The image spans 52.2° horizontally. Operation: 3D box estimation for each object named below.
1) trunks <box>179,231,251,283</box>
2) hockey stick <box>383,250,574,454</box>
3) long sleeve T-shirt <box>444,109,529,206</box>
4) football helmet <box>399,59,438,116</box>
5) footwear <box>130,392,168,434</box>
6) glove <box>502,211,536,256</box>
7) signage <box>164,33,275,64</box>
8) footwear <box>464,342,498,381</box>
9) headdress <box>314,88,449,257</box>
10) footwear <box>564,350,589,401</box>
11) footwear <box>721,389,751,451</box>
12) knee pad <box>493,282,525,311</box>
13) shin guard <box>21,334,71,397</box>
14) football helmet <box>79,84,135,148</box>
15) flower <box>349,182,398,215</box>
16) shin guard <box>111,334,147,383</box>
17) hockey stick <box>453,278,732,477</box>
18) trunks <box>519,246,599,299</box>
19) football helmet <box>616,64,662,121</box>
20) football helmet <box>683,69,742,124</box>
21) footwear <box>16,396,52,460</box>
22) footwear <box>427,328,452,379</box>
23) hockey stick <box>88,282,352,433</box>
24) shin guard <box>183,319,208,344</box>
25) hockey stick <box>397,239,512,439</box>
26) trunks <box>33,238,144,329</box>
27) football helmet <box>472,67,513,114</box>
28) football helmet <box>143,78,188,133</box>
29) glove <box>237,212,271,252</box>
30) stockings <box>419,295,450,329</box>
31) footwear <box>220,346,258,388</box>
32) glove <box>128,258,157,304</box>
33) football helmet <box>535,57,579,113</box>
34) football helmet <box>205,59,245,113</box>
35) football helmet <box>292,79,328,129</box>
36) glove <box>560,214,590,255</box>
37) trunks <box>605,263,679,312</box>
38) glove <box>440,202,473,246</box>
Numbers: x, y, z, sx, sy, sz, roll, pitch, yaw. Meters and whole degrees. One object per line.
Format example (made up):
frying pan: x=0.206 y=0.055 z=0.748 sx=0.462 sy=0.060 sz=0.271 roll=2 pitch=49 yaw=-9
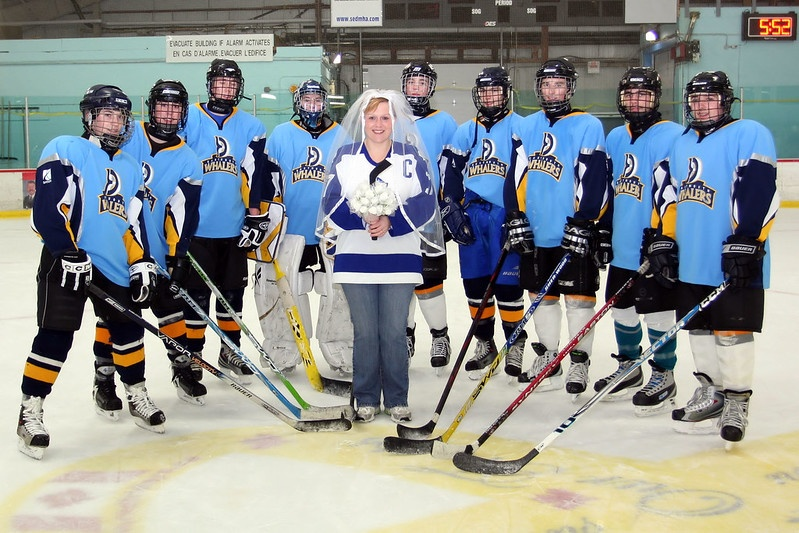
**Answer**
trunks: x=-1.392 y=-0.057 z=6.288 sx=0.546 sy=0.513 sz=0.304 roll=-1 pitch=0 yaw=-26
hockey stick: x=0.573 y=0.617 z=5.799 sx=0.285 sy=1.499 sz=0.165 roll=36 pitch=-12 yaw=30
long sleeve T-shirt: x=0.679 y=-0.803 z=6.222 sx=0.696 sy=0.751 sz=0.396 roll=5 pitch=-9 yaw=36
football helmet: x=0.176 y=-1.431 z=6.538 sx=0.301 sy=0.399 sz=0.405 roll=-1 pitch=3 yaw=2
footwear: x=-1.639 y=0.957 z=5.333 sx=0.141 sy=0.163 sz=0.355 roll=-8 pitch=13 yaw=-37
glove: x=0.871 y=-0.240 z=5.952 sx=0.190 sy=0.303 sz=0.122 roll=-9 pitch=-1 yaw=3
signage: x=-3.648 y=-4.433 z=16.596 sx=2.307 sy=0.568 sz=0.289 roll=1 pitch=12 yaw=12
footwear: x=0.645 y=0.677 z=6.379 sx=0.309 sy=0.299 sz=0.097 roll=-26 pitch=29 yaw=-22
headdress: x=-0.131 y=-0.613 z=5.629 sx=1.160 sy=1.292 sz=0.357 roll=2 pitch=-3 yaw=-2
footwear: x=1.264 y=0.770 z=5.785 sx=0.143 sy=0.189 sz=0.380 roll=-5 pitch=33 yaw=20
footwear: x=2.119 y=0.913 z=5.160 sx=0.160 sy=0.224 sz=0.523 roll=11 pitch=20 yaw=23
knee pad: x=0.856 y=0.251 z=6.333 sx=0.236 sy=0.312 sz=0.184 roll=-2 pitch=-16 yaw=18
shin guard: x=-2.210 y=0.565 z=5.117 sx=0.220 sy=0.658 sz=0.170 roll=3 pitch=49 yaw=-22
football helmet: x=-1.873 y=-0.980 z=5.238 sx=0.389 sy=0.379 sz=0.314 roll=9 pitch=4 yaw=36
flower: x=-0.158 y=-0.426 z=5.228 sx=0.239 sy=0.110 sz=0.237 roll=8 pitch=44 yaw=3
shin guard: x=-1.811 y=0.620 z=5.411 sx=0.249 sy=0.324 sz=0.217 roll=-9 pitch=5 yaw=-24
hockey stick: x=1.438 y=0.526 z=5.322 sx=2.103 sy=0.114 sz=0.371 roll=-50 pitch=10 yaw=-31
trunks: x=1.139 y=0.038 z=5.921 sx=0.639 sy=0.348 sz=0.456 roll=5 pitch=1 yaw=18
football helmet: x=1.664 y=-1.204 z=5.667 sx=0.304 sy=0.354 sz=0.211 roll=-1 pitch=12 yaw=3
football helmet: x=2.002 y=-1.091 z=5.337 sx=0.345 sy=0.329 sz=0.350 roll=-3 pitch=1 yaw=42
footwear: x=-2.278 y=1.007 z=5.086 sx=0.121 sy=0.368 sz=0.388 roll=6 pitch=4 yaw=-43
footwear: x=0.320 y=0.666 z=6.386 sx=0.128 sy=0.164 sz=0.383 roll=-7 pitch=15 yaw=7
hockey stick: x=-1.022 y=0.429 z=4.962 sx=0.302 sy=2.114 sz=0.281 roll=-18 pitch=35 yaw=31
shin guard: x=-1.531 y=0.468 z=6.169 sx=0.179 sy=0.193 sz=0.185 roll=-3 pitch=10 yaw=-28
hockey stick: x=0.411 y=0.549 z=5.984 sx=0.254 sy=1.432 sz=0.200 roll=38 pitch=-26 yaw=-33
trunks: x=-1.969 y=-0.007 z=5.295 sx=0.806 sy=0.733 sz=0.461 roll=-1 pitch=5 yaw=-25
football helmet: x=0.713 y=-1.360 z=6.315 sx=0.274 sy=0.370 sz=0.351 roll=-1 pitch=12 yaw=5
football helmet: x=-1.600 y=-1.117 z=5.739 sx=0.280 sy=0.358 sz=0.374 roll=3 pitch=-2 yaw=-9
glove: x=-1.084 y=-0.266 z=6.246 sx=0.228 sy=0.346 sz=0.267 roll=10 pitch=2 yaw=-18
stockings: x=0.256 y=0.358 z=6.581 sx=0.254 sy=0.277 sz=0.243 roll=-10 pitch=2 yaw=-12
footwear: x=-1.239 y=0.700 z=6.266 sx=0.392 sy=0.264 sz=0.142 roll=16 pitch=22 yaw=38
glove: x=-1.638 y=0.092 z=5.225 sx=0.184 sy=0.251 sz=0.110 roll=-3 pitch=-7 yaw=-15
football helmet: x=1.148 y=-1.311 z=5.959 sx=0.307 sy=0.404 sz=0.234 roll=0 pitch=12 yaw=8
football helmet: x=-1.327 y=-1.392 z=6.183 sx=0.276 sy=0.377 sz=0.368 roll=1 pitch=14 yaw=-23
football helmet: x=-0.671 y=-1.291 z=6.372 sx=0.267 sy=0.356 sz=0.357 roll=-3 pitch=16 yaw=-11
glove: x=1.244 y=-0.199 z=5.726 sx=0.203 sy=0.275 sz=0.117 roll=1 pitch=12 yaw=12
trunks: x=1.669 y=0.126 z=5.630 sx=0.353 sy=0.348 sz=0.131 roll=6 pitch=6 yaw=20
glove: x=0.425 y=-0.343 z=6.186 sx=0.205 sy=0.331 sz=0.132 roll=-38 pitch=-27 yaw=20
